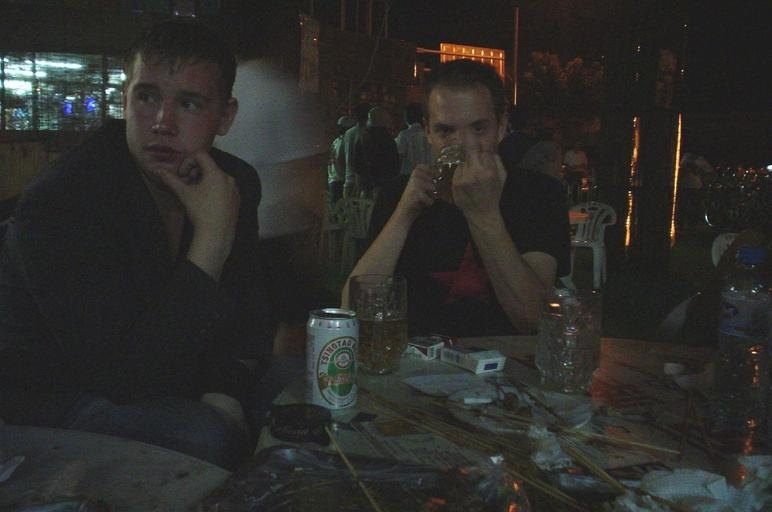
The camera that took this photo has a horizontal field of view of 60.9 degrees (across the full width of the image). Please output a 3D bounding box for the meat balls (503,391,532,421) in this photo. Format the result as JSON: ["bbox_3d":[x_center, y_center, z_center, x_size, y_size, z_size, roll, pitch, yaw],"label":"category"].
[{"bbox_3d":[0.463,0.529,2.316,0.055,0.022,0.084,-7,27,-9],"label":"meat balls"}]

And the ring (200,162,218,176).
[{"bbox_3d":[-0.790,-0.388,2.940,0.042,0.035,0.079,-26,27,-15],"label":"ring"}]

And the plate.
[{"bbox_3d":[0.457,0.547,2.295,0.282,0.057,0.205,1,21,6],"label":"plate"}]

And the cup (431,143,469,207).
[{"bbox_3d":[0.329,-0.423,3.441,0.152,0.299,0.270,4,6,4],"label":"cup"}]
